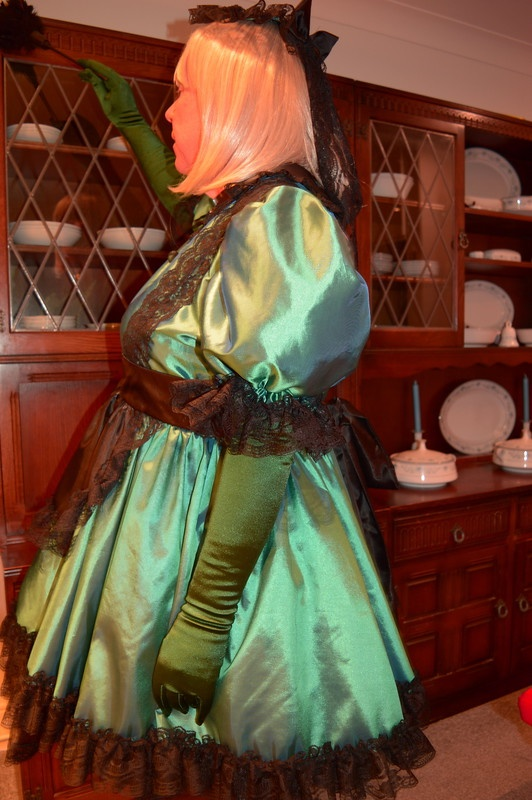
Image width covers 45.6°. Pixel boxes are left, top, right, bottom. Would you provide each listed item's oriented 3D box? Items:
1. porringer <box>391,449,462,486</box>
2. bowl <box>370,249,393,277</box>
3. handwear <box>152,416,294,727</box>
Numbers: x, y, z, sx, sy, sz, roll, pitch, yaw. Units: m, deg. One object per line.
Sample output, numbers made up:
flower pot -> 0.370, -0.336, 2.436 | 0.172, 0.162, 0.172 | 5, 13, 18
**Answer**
porringer -> 0.481, 0.206, 2.004 | 0.159, 0.097, 0.206 | -1, -5, 0
bowl -> 0.330, -0.388, 1.797 | 0.064, 0.045, 0.063 | 1, 7, 0
handwear -> -0.044, 0.181, 0.613 | 0.113, 0.248, 0.053 | 5, 1, 2
